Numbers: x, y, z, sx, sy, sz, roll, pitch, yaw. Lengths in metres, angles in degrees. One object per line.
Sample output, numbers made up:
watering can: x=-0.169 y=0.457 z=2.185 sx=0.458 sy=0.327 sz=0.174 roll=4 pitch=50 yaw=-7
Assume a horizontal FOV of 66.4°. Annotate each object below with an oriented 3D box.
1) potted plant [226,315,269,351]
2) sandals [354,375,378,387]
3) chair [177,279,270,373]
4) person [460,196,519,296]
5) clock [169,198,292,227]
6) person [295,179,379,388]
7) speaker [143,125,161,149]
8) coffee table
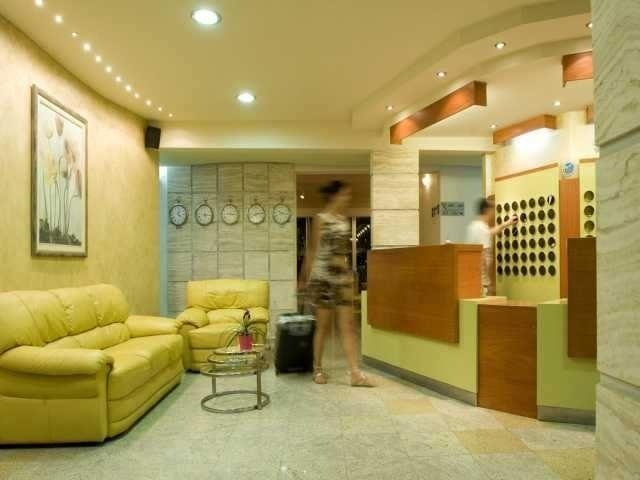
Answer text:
potted plant: x=-0.648 y=0.831 z=4.381 sx=0.382 sy=0.273 sz=0.320 roll=-1 pitch=-1 yaw=-33
sandals: x=0.429 y=1.359 z=4.730 sx=0.243 sy=0.121 sz=0.099 roll=-1 pitch=3 yaw=-2
chair: x=-1.148 y=1.040 z=6.055 sx=1.286 sy=1.055 sz=1.324 roll=-1 pitch=-1 yaw=26
person: x=2.062 y=0.128 z=5.907 sx=0.532 sy=1.339 sz=2.249 roll=0 pitch=3 yaw=22
clock: x=-1.442 y=-0.421 z=7.890 sx=2.005 sy=0.406 sz=0.161 roll=-1 pitch=3 yaw=6
person: x=0.146 y=0.427 z=4.804 sx=0.678 sy=1.996 sz=0.267 roll=0 pitch=4 yaw=9
speaker: x=-2.232 y=-1.389 z=6.598 sx=0.233 sy=0.327 sz=0.133 roll=-3 pitch=4 yaw=-29
coffee table: x=-0.741 y=1.214 z=4.320 sx=0.629 sy=0.464 sz=0.597 roll=-5 pitch=-5 yaw=41
